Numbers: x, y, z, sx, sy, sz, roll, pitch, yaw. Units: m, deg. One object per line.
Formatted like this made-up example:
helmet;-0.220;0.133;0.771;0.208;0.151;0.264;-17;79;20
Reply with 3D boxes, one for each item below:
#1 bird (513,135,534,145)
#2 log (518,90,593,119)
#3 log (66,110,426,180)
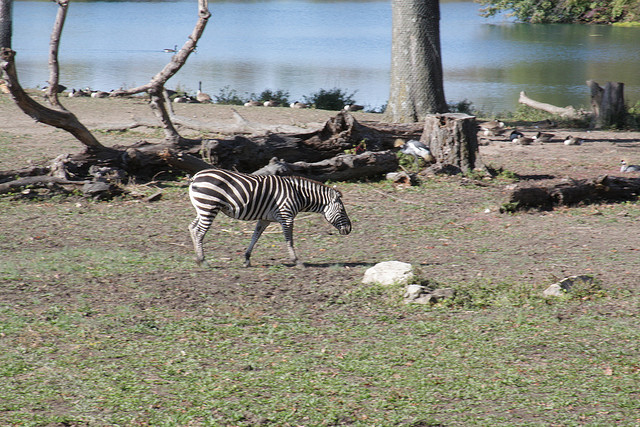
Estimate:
bird;6.336;-2.307;26.879;0.506;0.217;0.298;6;13;43
log;8.879;-4.112;32.913;3.163;0.455;0.582;10;17;-28
log;-2.386;-1.603;22.582;7.330;1.075;0.592;-4;-23;-20
